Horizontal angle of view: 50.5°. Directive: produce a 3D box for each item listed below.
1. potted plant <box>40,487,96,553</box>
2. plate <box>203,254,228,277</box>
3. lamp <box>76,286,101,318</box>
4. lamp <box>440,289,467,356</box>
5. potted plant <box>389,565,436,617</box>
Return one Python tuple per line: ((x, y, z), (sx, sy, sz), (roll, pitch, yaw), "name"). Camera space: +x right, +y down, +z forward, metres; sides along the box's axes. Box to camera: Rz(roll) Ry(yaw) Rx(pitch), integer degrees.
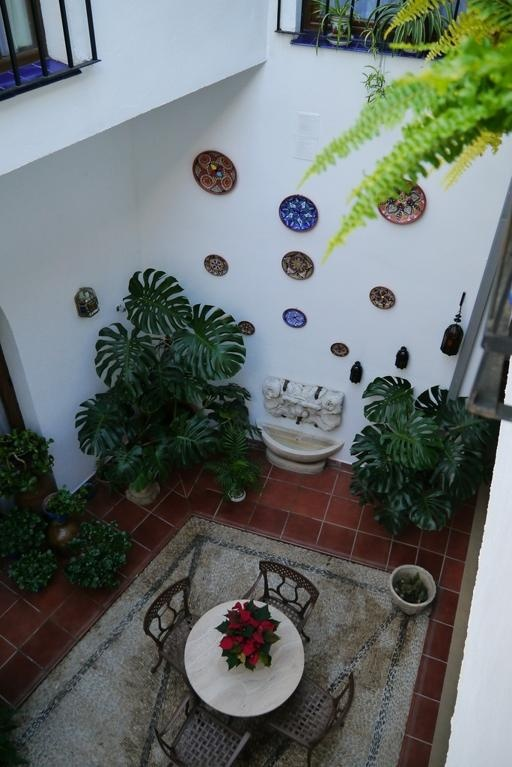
((-1.734, 1.273, 4.961), (0.362, 0.583, 0.379), (-14, 32, -43), "potted plant")
((-0.369, -1.082, 5.006), (0.194, 0.191, 0.045), (43, 39, -16), "plate")
((-1.416, -0.710, 4.692), (0.230, 0.254, 0.230), (-1, 46, -6), "lamp")
((1.601, -0.433, 4.385), (0.140, 0.621, 0.167), (17, 38, 19), "lamp")
((1.270, 1.747, 4.530), (0.366, 0.268, 0.376), (-4, 47, -1), "potted plant")
